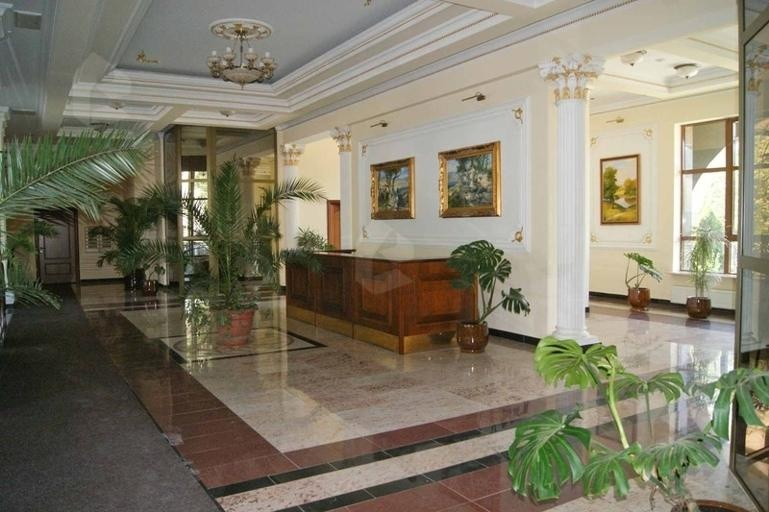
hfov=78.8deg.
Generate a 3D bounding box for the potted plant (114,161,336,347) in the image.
[{"bbox_3d":[-2.977,-0.177,8.847,2.113,2.951,3.536,-3,5,-26],"label":"potted plant"}]

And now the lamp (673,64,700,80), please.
[{"bbox_3d":[5.640,-3.452,8.710,0.420,0.215,0.313,-4,6,-39],"label":"lamp"}]

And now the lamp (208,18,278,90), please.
[{"bbox_3d":[-2.353,-3.305,7.802,0.972,0.903,0.998,-2,3,44],"label":"lamp"}]

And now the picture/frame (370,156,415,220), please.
[{"bbox_3d":[0.141,-1.326,9.583,0.115,1.252,1.339,-3,5,-41],"label":"picture/frame"}]

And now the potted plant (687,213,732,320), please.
[{"bbox_3d":[6.315,0.233,9.225,0.544,1.899,1.088,3,6,36],"label":"potted plant"}]

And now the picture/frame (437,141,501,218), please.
[{"bbox_3d":[1.440,-1.256,8.039,0.143,1.221,1.409,-7,7,-34],"label":"picture/frame"}]

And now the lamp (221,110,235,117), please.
[{"bbox_3d":[-3.950,-3.551,11.714,0.280,0.065,0.258,-1,-1,-7],"label":"lamp"}]

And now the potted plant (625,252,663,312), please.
[{"bbox_3d":[5.694,0.589,10.212,1.147,1.283,0.862,4,-6,-27],"label":"potted plant"}]

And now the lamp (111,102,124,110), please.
[{"bbox_3d":[-6.198,-3.460,10.827,0.267,0.097,0.251,-2,-6,1],"label":"lamp"}]
